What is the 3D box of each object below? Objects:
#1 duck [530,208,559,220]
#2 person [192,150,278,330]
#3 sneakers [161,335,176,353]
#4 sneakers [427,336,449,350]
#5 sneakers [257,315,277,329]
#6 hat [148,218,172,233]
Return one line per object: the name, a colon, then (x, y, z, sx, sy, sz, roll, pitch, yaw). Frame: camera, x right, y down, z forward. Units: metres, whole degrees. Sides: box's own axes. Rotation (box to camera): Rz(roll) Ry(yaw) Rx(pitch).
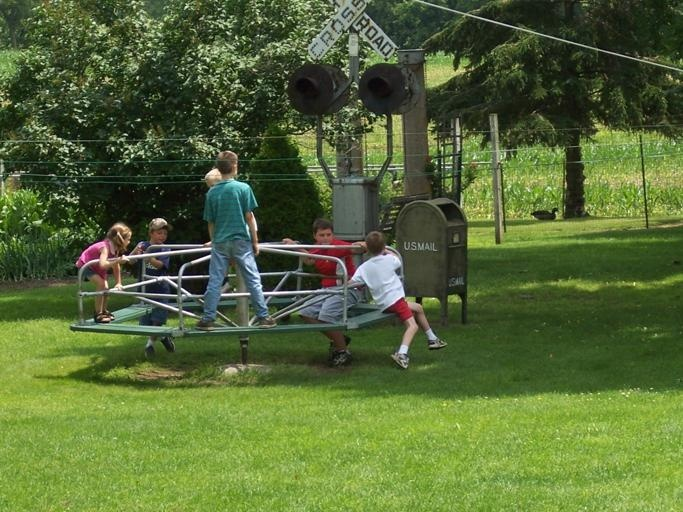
duck: (5.361, -1.094, 38.820, 0.783, 0.481, 0.285, 1, -1, 28)
person: (-1.613, -0.229, 21.317, 1.036, 2.306, 0.299, -2, -1, -5)
sneakers: (-2.714, 1.380, 22.636, 0.111, 0.326, 0.138, -33, -4, 17)
sneakers: (1.418, 1.352, 22.223, 0.140, 0.144, 0.314, 2, -8, -41)
sneakers: (-1.112, 0.986, 21.426, 0.299, 0.125, 0.125, -4, 5, -36)
hat: (-2.876, -0.485, 22.975, 0.243, 0.182, 0.291, -3, -1, 19)
